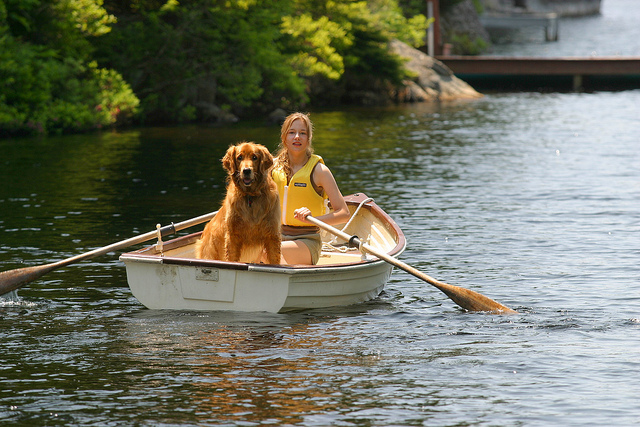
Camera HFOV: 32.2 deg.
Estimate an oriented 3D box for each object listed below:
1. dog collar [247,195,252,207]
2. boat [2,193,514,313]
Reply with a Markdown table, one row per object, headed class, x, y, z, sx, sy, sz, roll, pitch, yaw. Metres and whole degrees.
| class | x | y | z | sx | sy | sz | roll | pitch | yaw |
| --- | --- | --- | --- | --- | --- | --- | --- | --- | --- |
| dog collar | -1.087 | -0.193 | 17.037 | 0.066 | 0.175 | 0.072 | -3 | 22 | -9 |
| boat | -1.232 | 0.205 | 19.779 | 8.105 | 1.376 | 5.808 | -1 | 17 | -5 |
